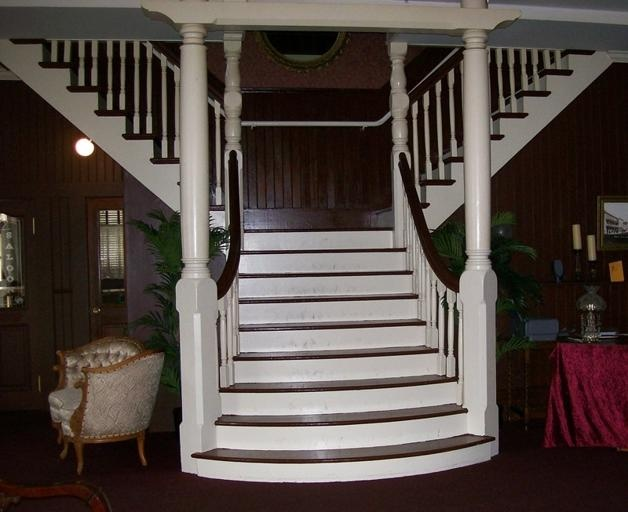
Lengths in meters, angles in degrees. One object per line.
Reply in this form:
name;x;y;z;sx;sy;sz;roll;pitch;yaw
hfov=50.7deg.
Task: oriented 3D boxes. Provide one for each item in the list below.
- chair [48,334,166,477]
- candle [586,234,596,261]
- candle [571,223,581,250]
chair;-1.850;1.287;5.809;0.790;1.098;0.915;1;2;-39
candle;2.930;-0.080;6.977;0.093;0.269;0.318;1;6;23
candle;2.770;-0.194;6.981;0.092;0.271;0.281;1;6;23
